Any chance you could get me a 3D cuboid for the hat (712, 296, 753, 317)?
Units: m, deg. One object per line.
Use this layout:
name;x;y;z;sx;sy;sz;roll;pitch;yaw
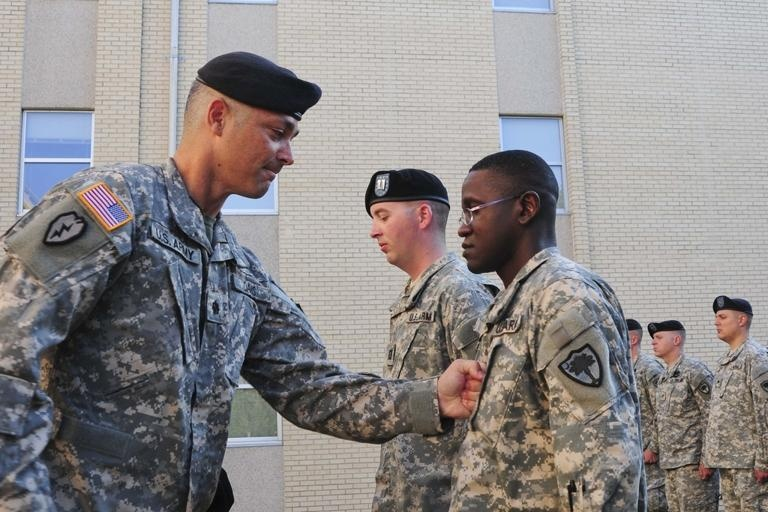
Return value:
hat;5.655;0.826;25.775;0.451;0.141;0.373;6;-10;-10
